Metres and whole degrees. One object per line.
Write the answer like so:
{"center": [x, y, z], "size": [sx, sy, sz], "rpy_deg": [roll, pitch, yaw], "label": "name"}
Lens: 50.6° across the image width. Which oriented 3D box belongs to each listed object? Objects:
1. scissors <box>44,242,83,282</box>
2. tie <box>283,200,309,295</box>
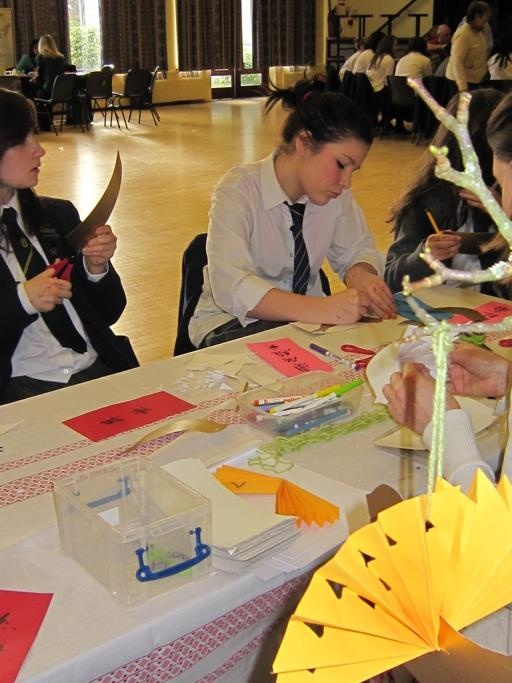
{"center": [-0.549, -0.228, 1.532], "size": [0.052, 0.071, 0.137], "rpy_deg": [17, 47, -6], "label": "scissors"}
{"center": [0.137, -0.308, 1.801], "size": [0.066, 0.333, 0.046], "rpy_deg": [0, 9, -14], "label": "tie"}
